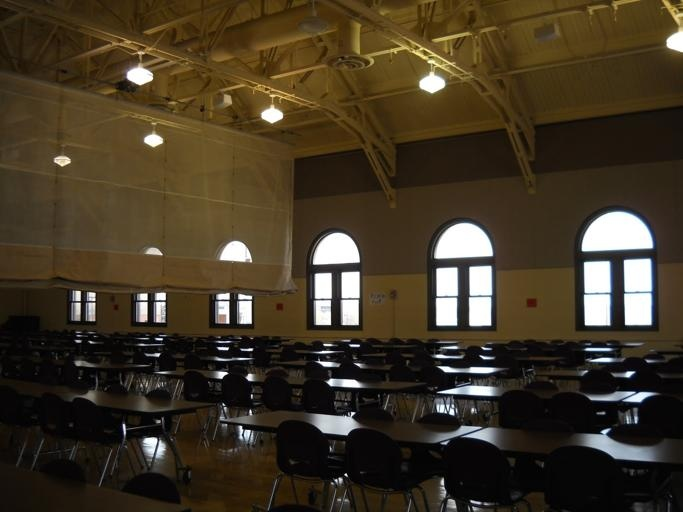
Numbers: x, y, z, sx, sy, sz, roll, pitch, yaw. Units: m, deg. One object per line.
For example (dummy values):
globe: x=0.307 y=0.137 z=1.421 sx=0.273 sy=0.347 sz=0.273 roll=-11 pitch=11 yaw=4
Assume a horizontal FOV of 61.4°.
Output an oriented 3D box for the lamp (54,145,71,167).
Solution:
lamp: x=-5.366 y=-1.919 z=10.997 sx=0.312 sy=0.503 sz=0.328 roll=-1 pitch=5 yaw=0
